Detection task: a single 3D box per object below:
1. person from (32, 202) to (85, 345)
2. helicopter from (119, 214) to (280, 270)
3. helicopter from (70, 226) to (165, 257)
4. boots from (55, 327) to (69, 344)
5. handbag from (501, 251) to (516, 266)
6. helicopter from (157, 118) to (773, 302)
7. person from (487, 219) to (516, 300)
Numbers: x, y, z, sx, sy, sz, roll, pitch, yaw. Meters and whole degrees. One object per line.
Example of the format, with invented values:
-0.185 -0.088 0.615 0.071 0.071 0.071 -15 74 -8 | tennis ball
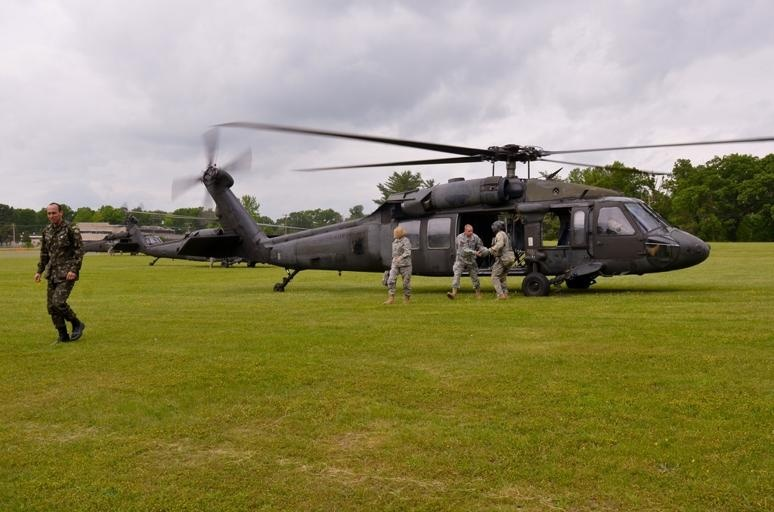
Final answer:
-5.855 0.307 11.512 0.798 2.414 0.541 -1 1 -6 | person
-7.108 -0.503 25.028 7.295 1.926 5.212 -1 -8 0 | helicopter
-25.639 -1.543 62.802 10.862 2.687 7.685 -2 4 1 | helicopter
-5.741 1.380 11.444 0.194 0.271 0.244 -2 1 -24 | boots
3.225 0.069 16.834 0.426 0.328 0.414 0 0 33 | handbag
2.167 -0.825 19.252 11.531 2.946 8.932 -1 5 17 | helicopter
3.042 0.064 16.966 0.629 2.021 1.322 -1 1 12 | person
